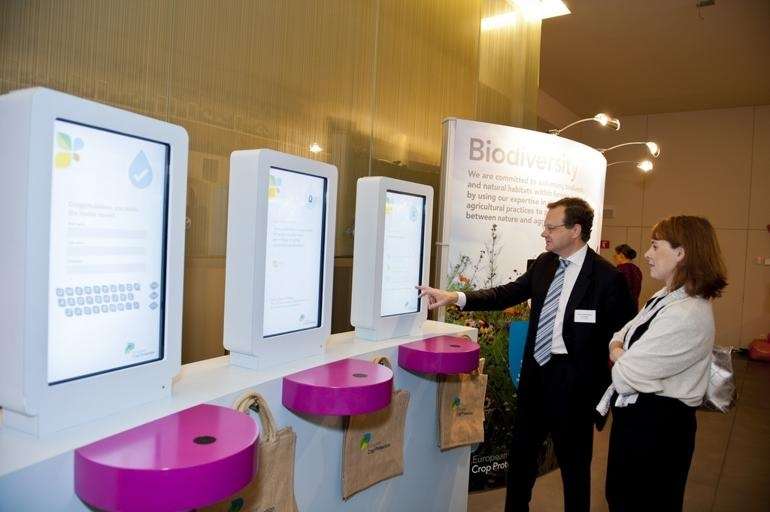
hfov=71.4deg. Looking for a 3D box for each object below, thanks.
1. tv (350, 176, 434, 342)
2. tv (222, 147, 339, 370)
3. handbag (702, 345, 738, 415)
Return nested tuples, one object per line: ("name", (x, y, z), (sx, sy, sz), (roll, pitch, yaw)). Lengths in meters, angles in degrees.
("tv", (0.062, 0.009, 3.350), (0.527, 0.983, 0.356), (1, 13, -13))
("tv", (-0.526, 0.010, 2.757), (0.569, 1.082, 0.345), (0, 13, -17))
("handbag", (1.761, 0.658, 2.870), (0.200, 0.353, 0.084), (8, 0, 1))
